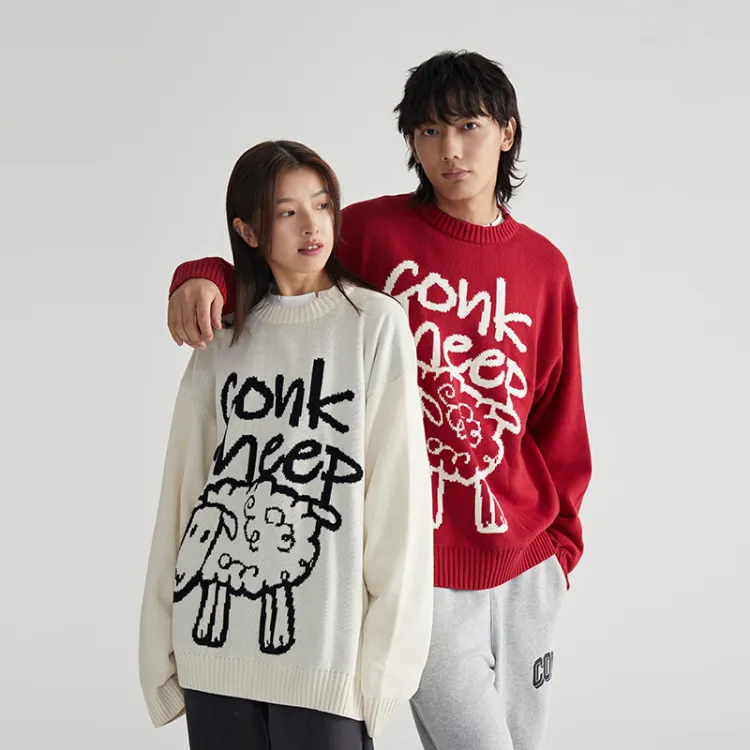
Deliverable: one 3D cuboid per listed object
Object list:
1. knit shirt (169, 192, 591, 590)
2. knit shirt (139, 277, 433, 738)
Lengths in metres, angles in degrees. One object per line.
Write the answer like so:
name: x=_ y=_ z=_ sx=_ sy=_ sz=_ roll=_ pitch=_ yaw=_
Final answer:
knit shirt: x=0.005 y=0.047 z=2.107 sx=0.834 sy=0.958 sz=0.413 roll=1 pitch=-2 yaw=-20
knit shirt: x=-0.201 y=0.270 z=2.042 sx=0.610 sy=0.875 sz=0.204 roll=-4 pitch=-3 yaw=29
